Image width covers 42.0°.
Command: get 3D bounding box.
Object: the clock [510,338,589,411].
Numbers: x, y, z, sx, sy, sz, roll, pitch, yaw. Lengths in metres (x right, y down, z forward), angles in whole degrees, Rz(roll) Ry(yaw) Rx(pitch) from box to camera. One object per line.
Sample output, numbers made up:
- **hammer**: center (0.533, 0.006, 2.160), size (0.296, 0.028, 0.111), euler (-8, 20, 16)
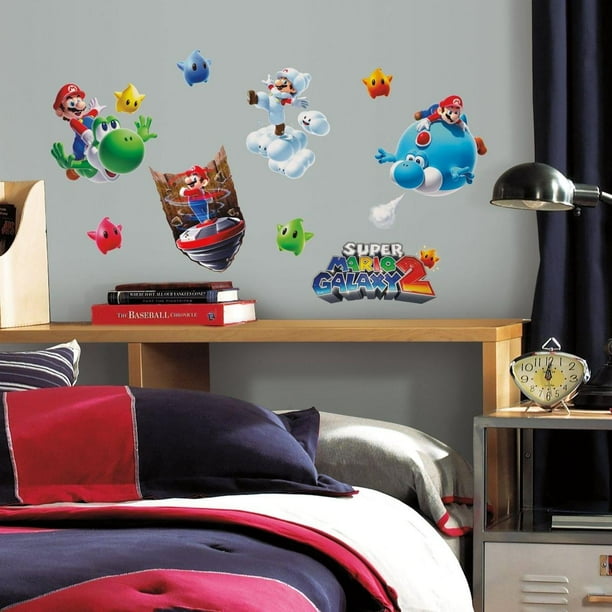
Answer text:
- **clock**: center (0.515, 0.150, 1.699), size (0.137, 0.161, 0.041), euler (-1, -9, 14)
